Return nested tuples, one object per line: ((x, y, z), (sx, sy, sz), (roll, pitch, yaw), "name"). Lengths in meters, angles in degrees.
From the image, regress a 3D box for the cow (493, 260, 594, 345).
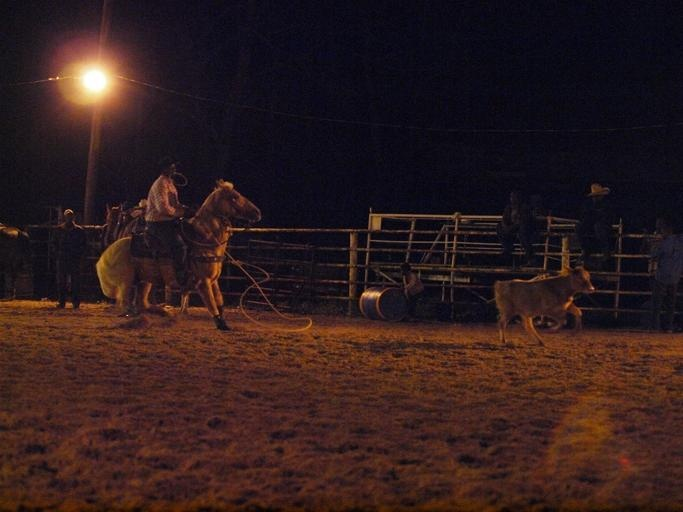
((3.017, 0.748, 9.877), (1.352, 1.228, 0.334), (2, 10, 2), "cow")

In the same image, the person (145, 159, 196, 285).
((-2.716, -0.613, 10.194), (0.769, 1.765, 0.404), (6, 11, 24), "person")

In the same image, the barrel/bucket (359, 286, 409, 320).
((0.831, 0.956, 12.778), (0.938, 0.726, 0.609), (3, 10, 4), "barrel/bucket")
